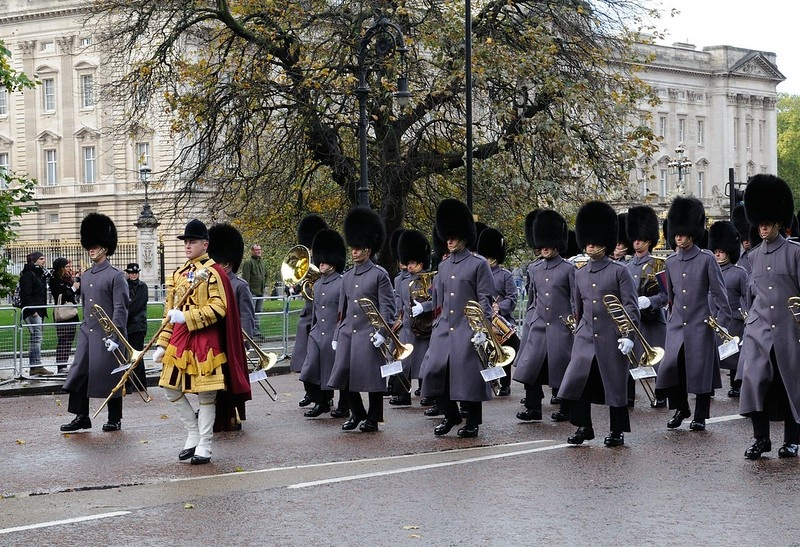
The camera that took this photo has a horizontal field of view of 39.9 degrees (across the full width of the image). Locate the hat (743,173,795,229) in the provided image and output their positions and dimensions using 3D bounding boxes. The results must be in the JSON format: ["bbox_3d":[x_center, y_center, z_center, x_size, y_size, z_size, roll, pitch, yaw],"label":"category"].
[{"bbox_3d":[4.269,-0.849,12.696,0.513,0.644,0.226,1,-11,4],"label":"hat"}]

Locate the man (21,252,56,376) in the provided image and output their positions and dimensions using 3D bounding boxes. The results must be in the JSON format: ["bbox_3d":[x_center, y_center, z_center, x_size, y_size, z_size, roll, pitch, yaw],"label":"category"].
[{"bbox_3d":[-6.225,0.764,18.713,0.827,2.547,0.898,1,-34,-17],"label":"man"}]

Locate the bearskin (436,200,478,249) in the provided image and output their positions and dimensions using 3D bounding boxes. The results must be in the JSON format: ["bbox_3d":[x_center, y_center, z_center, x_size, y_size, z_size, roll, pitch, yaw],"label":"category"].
[{"bbox_3d":[0.701,-0.627,13.797,0.472,0.194,0.633,-5,42,-14],"label":"bearskin"}]

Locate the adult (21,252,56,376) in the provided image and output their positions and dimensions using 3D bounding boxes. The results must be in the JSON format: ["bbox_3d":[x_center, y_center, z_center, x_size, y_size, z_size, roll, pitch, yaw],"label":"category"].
[{"bbox_3d":[-6.225,0.764,18.713,0.827,2.547,0.898,1,-34,-17],"label":"adult"}]

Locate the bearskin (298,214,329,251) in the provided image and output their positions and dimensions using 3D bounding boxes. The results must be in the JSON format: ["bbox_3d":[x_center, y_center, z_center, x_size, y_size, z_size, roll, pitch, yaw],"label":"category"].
[{"bbox_3d":[-1.394,-0.685,16.950,0.565,0.523,0.585,-19,9,-7],"label":"bearskin"}]

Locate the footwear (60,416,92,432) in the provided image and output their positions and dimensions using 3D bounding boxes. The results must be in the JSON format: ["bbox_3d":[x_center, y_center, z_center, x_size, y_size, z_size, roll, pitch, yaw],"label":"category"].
[{"bbox_3d":[-4.198,1.964,14.272,0.476,0.209,0.174,4,2,-10],"label":"footwear"}]

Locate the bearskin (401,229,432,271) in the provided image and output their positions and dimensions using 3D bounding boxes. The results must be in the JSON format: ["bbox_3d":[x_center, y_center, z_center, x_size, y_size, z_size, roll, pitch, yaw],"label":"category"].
[{"bbox_3d":[0.233,-0.358,15.740,0.424,0.583,0.482,-2,39,10],"label":"bearskin"}]

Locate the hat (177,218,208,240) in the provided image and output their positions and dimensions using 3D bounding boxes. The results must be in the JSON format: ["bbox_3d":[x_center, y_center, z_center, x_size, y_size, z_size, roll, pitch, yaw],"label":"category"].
[{"bbox_3d":[-2.389,-0.506,12.621,0.305,0.169,0.208,10,-5,-38],"label":"hat"}]

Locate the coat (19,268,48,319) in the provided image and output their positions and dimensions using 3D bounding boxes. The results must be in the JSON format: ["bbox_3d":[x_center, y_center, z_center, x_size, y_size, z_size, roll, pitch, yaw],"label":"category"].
[{"bbox_3d":[-6.588,0.336,19.633,0.424,0.928,0.706,-3,-7,8],"label":"coat"}]

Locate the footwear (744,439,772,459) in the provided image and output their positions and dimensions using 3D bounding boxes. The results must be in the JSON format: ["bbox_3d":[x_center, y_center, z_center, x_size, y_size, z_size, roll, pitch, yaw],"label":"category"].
[{"bbox_3d":[4.046,1.994,12.398,0.438,0.182,0.141,-6,5,-37],"label":"footwear"}]

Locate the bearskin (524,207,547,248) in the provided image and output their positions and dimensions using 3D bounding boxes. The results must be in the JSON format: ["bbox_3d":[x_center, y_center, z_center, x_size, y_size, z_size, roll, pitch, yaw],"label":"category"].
[{"bbox_3d":[2.012,-0.703,16.554,0.401,0.515,0.175,-6,2,-44],"label":"bearskin"}]

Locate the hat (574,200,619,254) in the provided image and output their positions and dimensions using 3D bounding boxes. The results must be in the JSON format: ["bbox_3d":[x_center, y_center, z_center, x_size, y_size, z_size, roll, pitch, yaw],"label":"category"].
[{"bbox_3d":[2.405,-0.566,13.583,0.482,0.521,0.656,1,-13,8],"label":"hat"}]

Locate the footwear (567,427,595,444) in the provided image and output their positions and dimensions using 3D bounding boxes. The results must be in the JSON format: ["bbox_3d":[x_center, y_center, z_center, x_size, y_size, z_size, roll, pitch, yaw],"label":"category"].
[{"bbox_3d":[2.160,1.926,13.085,0.442,0.190,0.141,-7,10,-25],"label":"footwear"}]

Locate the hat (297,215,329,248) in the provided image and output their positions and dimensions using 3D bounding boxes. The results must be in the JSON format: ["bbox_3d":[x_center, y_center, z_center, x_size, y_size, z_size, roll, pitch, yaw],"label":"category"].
[{"bbox_3d":[-1.433,-0.663,17.020,0.554,0.548,0.538,1,-9,10],"label":"hat"}]

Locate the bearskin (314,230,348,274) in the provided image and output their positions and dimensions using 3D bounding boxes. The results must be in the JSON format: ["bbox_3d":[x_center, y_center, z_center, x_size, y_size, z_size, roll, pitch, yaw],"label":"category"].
[{"bbox_3d":[-0.968,-0.316,15.105,0.458,0.607,0.492,-2,42,17],"label":"bearskin"}]

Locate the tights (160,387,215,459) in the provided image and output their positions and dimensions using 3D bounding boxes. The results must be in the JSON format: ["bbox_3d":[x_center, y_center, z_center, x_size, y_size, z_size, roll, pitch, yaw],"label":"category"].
[{"bbox_3d":[-2.373,1.726,12.559,0.534,0.855,0.457,3,8,34],"label":"tights"}]

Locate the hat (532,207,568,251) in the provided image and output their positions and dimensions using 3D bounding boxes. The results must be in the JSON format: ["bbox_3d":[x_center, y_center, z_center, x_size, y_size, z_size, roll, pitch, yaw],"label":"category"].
[{"bbox_3d":[2.022,-0.573,14.777,0.436,0.466,0.590,2,4,12],"label":"hat"}]

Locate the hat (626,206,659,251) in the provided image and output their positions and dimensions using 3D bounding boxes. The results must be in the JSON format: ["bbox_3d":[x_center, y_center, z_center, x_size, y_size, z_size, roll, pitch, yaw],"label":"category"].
[{"bbox_3d":[3.400,-0.726,15.841,0.655,0.554,0.453,-5,10,2],"label":"hat"}]

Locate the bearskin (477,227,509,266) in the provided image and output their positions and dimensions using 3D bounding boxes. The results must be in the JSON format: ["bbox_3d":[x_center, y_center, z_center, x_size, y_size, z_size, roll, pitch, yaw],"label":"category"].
[{"bbox_3d":[1.387,-0.518,16.713,0.520,0.305,0.340,-6,8,45],"label":"bearskin"}]

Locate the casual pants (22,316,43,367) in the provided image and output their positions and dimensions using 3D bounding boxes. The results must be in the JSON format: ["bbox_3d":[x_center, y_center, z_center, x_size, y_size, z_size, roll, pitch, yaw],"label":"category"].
[{"bbox_3d":[-6.105,1.120,18.255,0.249,0.847,0.497,-4,7,-19],"label":"casual pants"}]

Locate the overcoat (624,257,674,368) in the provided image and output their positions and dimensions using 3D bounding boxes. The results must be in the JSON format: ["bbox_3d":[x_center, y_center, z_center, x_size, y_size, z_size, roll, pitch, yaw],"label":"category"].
[{"bbox_3d":[3.488,0.680,15.889,0.918,1.742,0.788,-2,4,21],"label":"overcoat"}]

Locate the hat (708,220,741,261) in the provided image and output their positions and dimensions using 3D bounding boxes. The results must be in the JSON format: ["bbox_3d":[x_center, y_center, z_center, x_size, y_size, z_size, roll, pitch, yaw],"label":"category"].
[{"bbox_3d":[5.029,-0.521,16.900,0.460,0.571,0.702,0,-6,39],"label":"hat"}]

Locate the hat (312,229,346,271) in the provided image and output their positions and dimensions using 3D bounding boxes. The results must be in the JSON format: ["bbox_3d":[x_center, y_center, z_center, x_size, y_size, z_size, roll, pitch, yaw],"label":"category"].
[{"bbox_3d":[-0.962,-0.316,15.105,0.438,0.575,0.498,-3,35,13],"label":"hat"}]

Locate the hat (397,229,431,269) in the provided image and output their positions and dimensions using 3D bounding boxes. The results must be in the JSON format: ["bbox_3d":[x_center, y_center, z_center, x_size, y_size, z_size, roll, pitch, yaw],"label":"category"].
[{"bbox_3d":[0.283,-0.381,15.785,0.674,0.475,0.468,3,11,38],"label":"hat"}]

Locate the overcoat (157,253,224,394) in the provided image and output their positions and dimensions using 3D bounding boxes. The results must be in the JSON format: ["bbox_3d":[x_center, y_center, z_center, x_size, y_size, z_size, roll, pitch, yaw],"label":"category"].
[{"bbox_3d":[-2.400,0.596,12.577,0.780,1.506,0.591,-1,7,-1],"label":"overcoat"}]

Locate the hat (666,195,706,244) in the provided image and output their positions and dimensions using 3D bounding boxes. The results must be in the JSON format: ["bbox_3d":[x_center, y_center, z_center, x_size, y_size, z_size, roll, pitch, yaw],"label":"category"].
[{"bbox_3d":[3.728,-0.709,14.248,0.450,0.560,0.622,1,-2,17],"label":"hat"}]

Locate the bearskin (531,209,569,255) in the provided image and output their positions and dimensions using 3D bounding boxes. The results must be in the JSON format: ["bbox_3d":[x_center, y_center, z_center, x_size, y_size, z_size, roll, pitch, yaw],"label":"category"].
[{"bbox_3d":[2.032,-0.569,15.019,0.466,0.501,0.667,-2,-7,35],"label":"bearskin"}]

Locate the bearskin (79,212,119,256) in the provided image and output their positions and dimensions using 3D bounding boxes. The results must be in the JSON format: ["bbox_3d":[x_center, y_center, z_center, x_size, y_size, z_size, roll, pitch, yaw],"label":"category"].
[{"bbox_3d":[-3.983,-0.507,14.651,0.463,0.518,0.600,-2,-11,13],"label":"bearskin"}]
